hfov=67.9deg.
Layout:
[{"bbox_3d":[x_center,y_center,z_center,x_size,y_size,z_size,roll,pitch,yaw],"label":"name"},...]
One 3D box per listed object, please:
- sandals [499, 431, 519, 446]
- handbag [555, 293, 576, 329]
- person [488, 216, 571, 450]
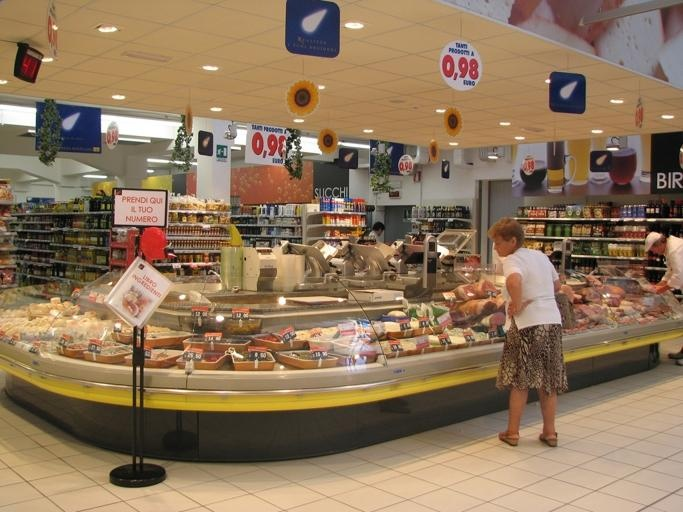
[{"bbox_3d":[1.434,1.555,4.423,0.078,0.076,0.176,-5,11,-22],"label":"sandals"},{"bbox_3d":[2.454,0.599,5.604,0.123,0.470,0.365,-9,-6,28],"label":"handbag"},{"bbox_3d":[1.589,0.645,4.362,0.636,1.756,0.386,1,1,-15],"label":"person"}]
